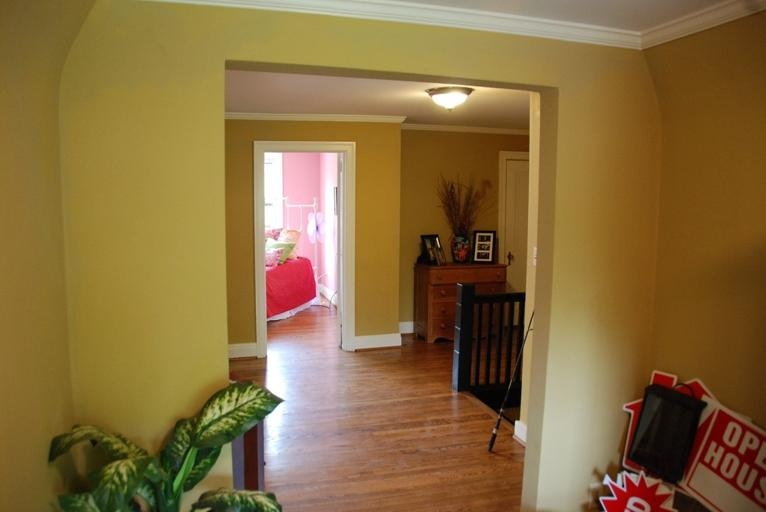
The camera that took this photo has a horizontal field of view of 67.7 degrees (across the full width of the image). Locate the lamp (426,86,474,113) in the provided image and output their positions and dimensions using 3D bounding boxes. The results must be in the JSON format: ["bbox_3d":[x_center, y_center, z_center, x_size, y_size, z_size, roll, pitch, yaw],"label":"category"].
[{"bbox_3d":[0.584,-1.399,4.962,0.417,0.160,0.373,3,12,12],"label":"lamp"}]

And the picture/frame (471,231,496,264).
[{"bbox_3d":[1.259,-0.110,7.125,0.363,0.522,0.053,2,-3,-10],"label":"picture/frame"}]

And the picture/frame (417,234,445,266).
[{"bbox_3d":[0.583,-0.076,6.976,0.407,0.571,0.056,0,-35,-22],"label":"picture/frame"}]

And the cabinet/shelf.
[{"bbox_3d":[0.922,0.338,7.132,1.326,1.345,0.807,-1,4,-17],"label":"cabinet/shelf"}]
